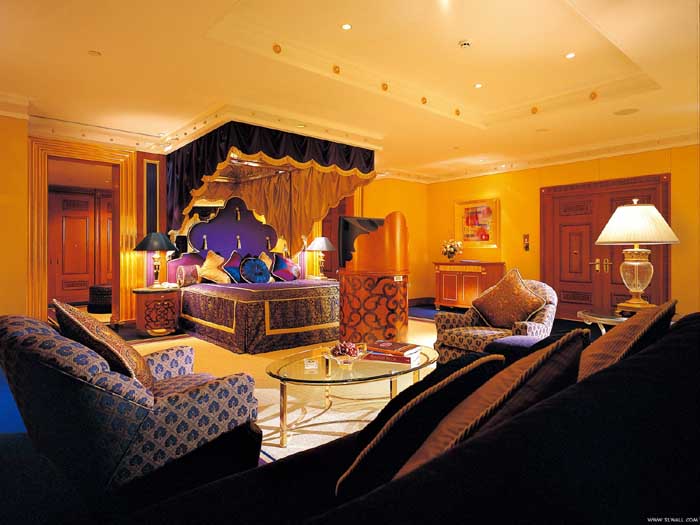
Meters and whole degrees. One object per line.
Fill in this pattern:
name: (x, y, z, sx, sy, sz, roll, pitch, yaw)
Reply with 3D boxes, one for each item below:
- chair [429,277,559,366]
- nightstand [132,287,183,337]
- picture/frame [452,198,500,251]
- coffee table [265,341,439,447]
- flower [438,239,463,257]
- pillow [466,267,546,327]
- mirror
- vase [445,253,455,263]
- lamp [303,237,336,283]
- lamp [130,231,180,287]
chair: (1.245, 0.573, 4.360, 1.014, 1.119, 0.859, 14, -14, -39)
nightstand: (-2.452, 0.598, 6.242, 0.582, 0.558, 0.571, 1, -2, -41)
picture/frame: (2.276, -0.671, 8.728, 0.075, 0.940, 0.911, 0, 2, -37)
coffee table: (-0.082, 0.638, 3.112, 0.645, 0.322, 0.844, 4, 4, 42)
flower: (1.842, -0.265, 8.989, 0.327, 0.340, 0.332, -1, -1, 24)
pillow: (1.335, 0.357, 4.234, 0.144, 0.477, 0.484, 33, 18, -36)
mirror: (-1.536, -0.666, 6.601, 1.256, 1.110, 1.235, 7, -6, -41)
vase: (1.821, -0.094, 8.983, 0.155, 0.251, 0.160, 1, 2, 29)
lamp: (-0.447, -0.073, 7.777, 0.575, 0.841, 0.624, 0, 1, 32)
lamp: (-2.362, -0.064, 6.419, 0.735, 0.841, 0.612, 0, 1, -41)
